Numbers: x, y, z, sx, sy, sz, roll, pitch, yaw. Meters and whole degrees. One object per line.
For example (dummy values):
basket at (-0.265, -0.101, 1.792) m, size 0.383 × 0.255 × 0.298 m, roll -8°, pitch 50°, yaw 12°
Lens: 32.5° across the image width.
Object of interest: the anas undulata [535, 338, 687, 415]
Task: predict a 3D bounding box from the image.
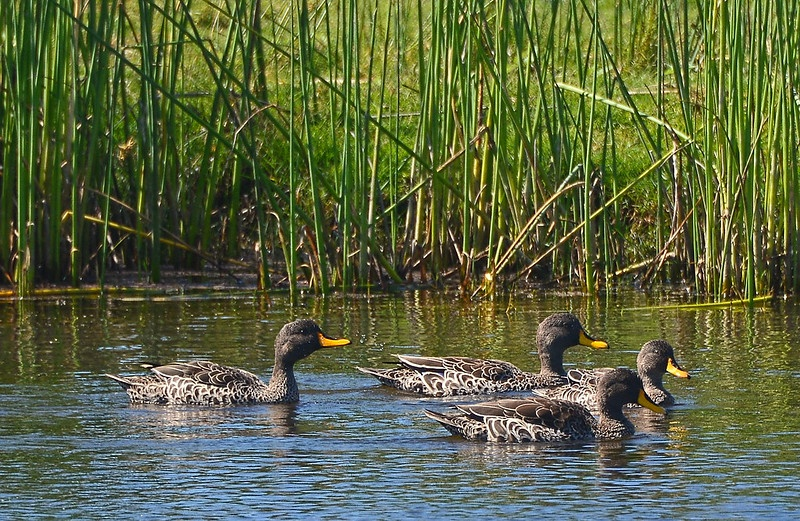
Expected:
anas undulata at (1.865, 1.084, 12.107) m, size 1.286 × 0.988 × 0.610 m, roll 6°, pitch 1°, yaw 33°
